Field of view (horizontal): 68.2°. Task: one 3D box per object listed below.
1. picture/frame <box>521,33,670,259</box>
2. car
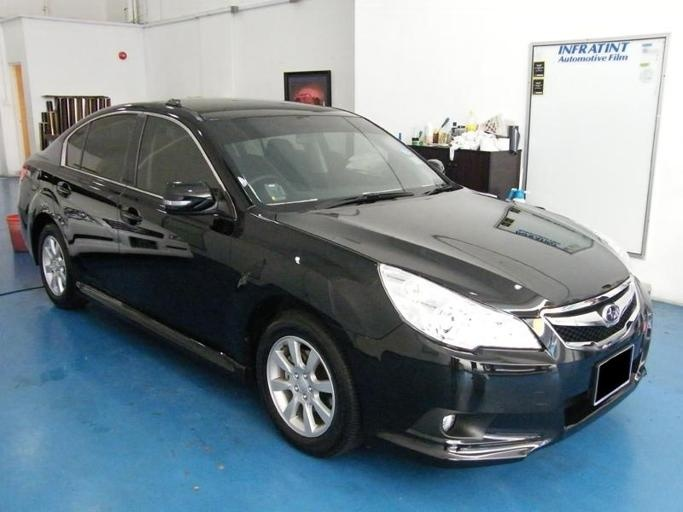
[{"bbox_3d":[2.367,-1.153,4.810,1.131,1.831,0.078,5,3,22],"label":"picture/frame"},{"bbox_3d":[-0.389,-0.018,3.072,3.654,1.307,1.777,17,21,38],"label":"car"}]
